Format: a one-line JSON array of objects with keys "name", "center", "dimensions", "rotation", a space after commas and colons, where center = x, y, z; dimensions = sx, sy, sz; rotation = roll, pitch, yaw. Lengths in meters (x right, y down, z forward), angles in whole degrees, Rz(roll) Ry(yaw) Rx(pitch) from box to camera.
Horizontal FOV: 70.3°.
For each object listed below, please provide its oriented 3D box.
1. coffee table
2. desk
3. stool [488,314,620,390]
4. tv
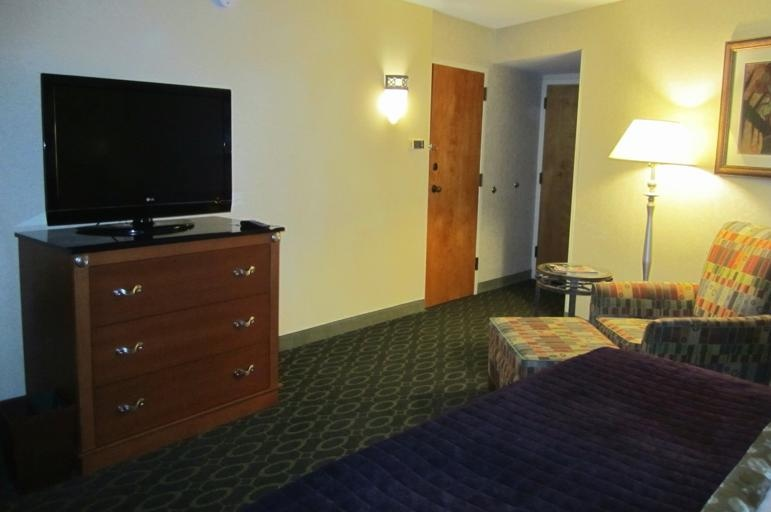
[{"name": "coffee table", "center": [1.645, 0.212, 4.773], "dimensions": [0.585, 0.589, 0.563], "rotation": [4, 14, 21]}, {"name": "desk", "center": [-1.707, 0.527, 3.916], "dimensions": [1.254, 1.333, 1.618], "rotation": [5, 8, 28]}, {"name": "stool", "center": [1.086, 0.609, 3.873], "dimensions": [0.665, 0.382, 0.624], "rotation": [-2, 9, -4]}, {"name": "tv", "center": [-1.623, -0.636, 3.495], "dimensions": [1.189, 0.850, 0.371], "rotation": [-5, 8, -37]}]
